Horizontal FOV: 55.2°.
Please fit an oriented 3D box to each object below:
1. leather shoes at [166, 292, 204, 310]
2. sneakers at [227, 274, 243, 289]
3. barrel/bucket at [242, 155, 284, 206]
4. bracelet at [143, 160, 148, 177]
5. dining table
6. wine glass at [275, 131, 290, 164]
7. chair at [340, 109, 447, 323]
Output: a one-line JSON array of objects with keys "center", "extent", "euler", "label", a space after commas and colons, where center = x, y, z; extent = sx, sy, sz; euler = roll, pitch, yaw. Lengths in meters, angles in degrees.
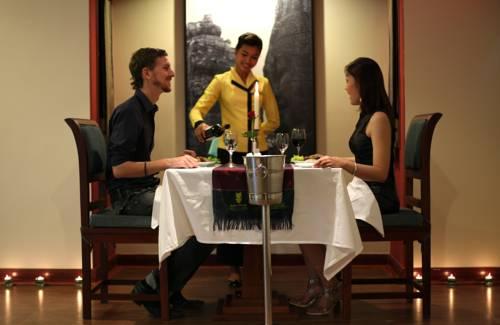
[{"center": [-0.561, 1.201, 4.197], "extent": [0.337, 0.161, 0.124], "euler": [-2, 2, -2], "label": "leather shoes"}, {"center": [-0.137, 1.152, 4.616], "extent": [0.078, 0.093, 0.233], "euler": [2, -2, -3], "label": "sneakers"}, {"center": [0.121, 0.119, 3.584], "extent": [0.339, 0.370, 0.342], "euler": [-3, 2, 0], "label": "barrel/bucket"}, {"center": [-0.862, 0.053, 3.937], "extent": [0.033, 0.115, 0.038], "euler": [0, 3, 6], "label": "bracelet"}, {"center": [0.064, 0.619, 3.878], "extent": [1.294, 0.694, 1.101], "euler": [0, 5, 0], "label": "dining table"}, {"center": [0.278, -0.097, 3.926], "extent": [0.108, 0.320, 0.110], "euler": [-2, 14, 4], "label": "wine glass"}, {"center": [1.226, 0.433, 4.300], "extent": [1.045, 1.714, 0.988], "euler": [5, -6, -33], "label": "chair"}]
